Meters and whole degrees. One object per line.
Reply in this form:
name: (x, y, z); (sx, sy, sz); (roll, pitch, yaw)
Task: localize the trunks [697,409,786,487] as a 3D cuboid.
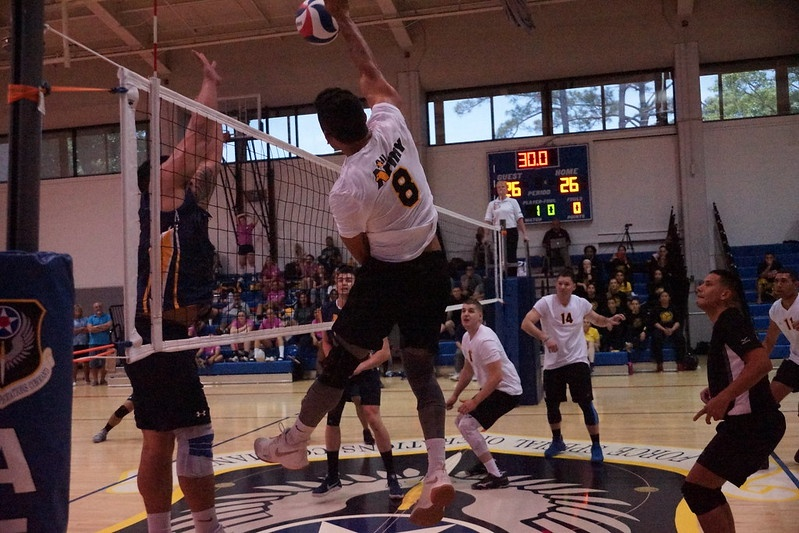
trunks: (3.122, 1.663, 7.125); (0.814, 0.659, 0.230); (-2, 1, -12)

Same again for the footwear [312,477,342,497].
footwear: (-0.790, 2.424, 8.568); (0.369, 0.172, 0.121); (4, -5, -41)

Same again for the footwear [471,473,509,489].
footwear: (1.017, 2.392, 8.660); (0.423, 0.179, 0.155); (-1, -5, -3)

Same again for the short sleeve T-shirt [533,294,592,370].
short sleeve T-shirt: (2.210, 0.815, 9.961); (0.742, 0.916, 0.506); (-10, 9, 35)

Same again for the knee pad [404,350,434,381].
knee pad: (0.171, 0.845, 6.706); (0.271, 0.270, 0.159); (0, 1, -38)

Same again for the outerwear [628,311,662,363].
outerwear: (4.789, 1.249, 15.231); (0.640, 1.188, 0.429); (-6, -10, -4)

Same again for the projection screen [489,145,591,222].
projection screen: (3.356, -1.875, 17.853); (2.149, 1.717, 0.250); (-2, -2, 7)

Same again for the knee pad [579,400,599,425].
knee pad: (2.300, 1.771, 9.440); (0.193, 0.188, 0.256); (-2, 1, 10)

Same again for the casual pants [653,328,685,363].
casual pants: (5.171, 1.483, 14.937); (0.609, 0.583, 0.626); (1, 2, 15)

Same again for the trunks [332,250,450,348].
trunks: (-0.077, 0.285, 6.845); (1.009, 0.950, 0.525); (9, 1, -13)

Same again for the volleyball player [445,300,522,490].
volleyball player: (1.116, 1.649, 9.845); (1.205, 2.723, 1.063); (3, -25, 1)

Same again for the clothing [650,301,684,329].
clothing: (5.178, 0.954, 15.036); (0.395, 0.498, 0.194); (-3, -37, 22)

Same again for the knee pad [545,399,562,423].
knee pad: (1.917, 1.807, 9.630); (0.151, 0.211, 0.206); (-2, 1, 5)
